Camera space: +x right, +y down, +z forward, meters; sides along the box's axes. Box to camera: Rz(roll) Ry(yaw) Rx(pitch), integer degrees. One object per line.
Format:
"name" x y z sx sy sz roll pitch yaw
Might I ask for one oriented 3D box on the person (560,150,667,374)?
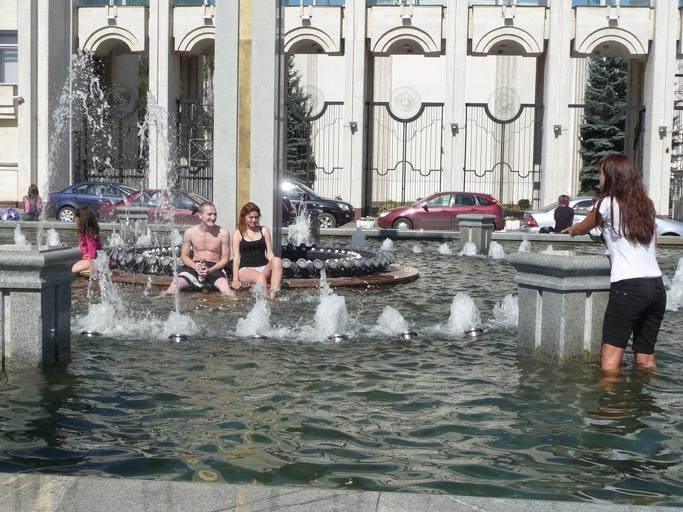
"person" 2.597 0.081 8.388 0.777 2.040 0.354 4 9 23

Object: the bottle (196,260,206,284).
"bottle" -2.016 0.240 12.890 0.197 0.313 0.230 0 8 -7

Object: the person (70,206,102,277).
"person" -3.889 -0.213 13.851 0.422 1.132 0.839 -2 9 -16

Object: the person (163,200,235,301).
"person" -2.032 0.011 12.646 1.232 1.385 1.349 -4 11 -28

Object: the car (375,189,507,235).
"car" 2.994 -1.381 27.121 3.255 1.042 1.521 3 0 4

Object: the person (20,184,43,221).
"person" -9.094 -1.595 26.597 0.501 1.047 1.488 -2 9 -20

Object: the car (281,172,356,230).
"car" -1.187 -1.803 28.380 3.375 1.401 1.569 5 24 26

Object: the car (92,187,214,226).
"car" -5.321 -1.354 24.803 3.103 0.903 1.410 -3 4 3

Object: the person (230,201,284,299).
"person" -1.214 -0.121 12.796 0.709 1.264 0.542 2 8 8
